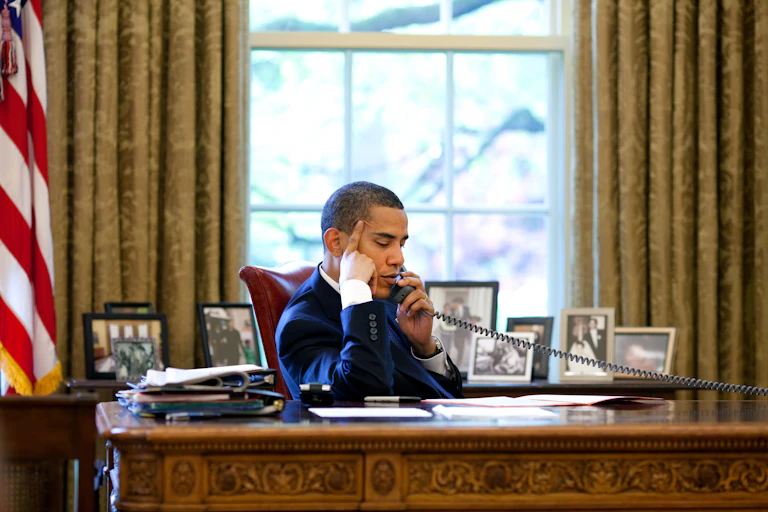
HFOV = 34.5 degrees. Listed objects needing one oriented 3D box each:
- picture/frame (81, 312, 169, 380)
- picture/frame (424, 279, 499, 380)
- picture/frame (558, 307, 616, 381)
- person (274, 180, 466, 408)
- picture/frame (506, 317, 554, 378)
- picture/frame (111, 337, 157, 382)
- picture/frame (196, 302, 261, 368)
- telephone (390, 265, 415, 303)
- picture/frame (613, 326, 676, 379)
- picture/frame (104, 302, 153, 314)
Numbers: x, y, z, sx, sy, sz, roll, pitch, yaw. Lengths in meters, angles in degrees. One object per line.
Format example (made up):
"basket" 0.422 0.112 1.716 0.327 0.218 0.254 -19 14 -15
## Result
"picture/frame" -1.212 0.426 5.779 0.276 0.257 0.025 -1 -7 -13
"picture/frame" 0.396 0.367 6.178 0.382 0.575 0.031 3 25 14
"picture/frame" 0.980 0.430 5.995 0.264 0.401 0.032 -1 -35 13
"person" -0.083 0.148 5.062 0.632 0.887 0.611 -5 -6 32
"picture/frame" 0.698 0.446 5.997 0.260 0.392 0.037 1 -15 8
"picture/frame" -1.165 0.484 5.717 0.173 0.190 0.016 -4 -4 -21
"picture/frame" -0.738 0.378 5.921 0.282 0.355 0.046 -4 -21 -24
"telephone" 0.067 0.137 5.099 0.053 0.163 0.084 17 10 -3
"picture/frame" 1.250 0.471 5.944 0.220 0.211 0.025 -1 -15 8
"picture/frame" -1.234 0.254 5.969 0.240 0.027 0.244 1 -7 -6
